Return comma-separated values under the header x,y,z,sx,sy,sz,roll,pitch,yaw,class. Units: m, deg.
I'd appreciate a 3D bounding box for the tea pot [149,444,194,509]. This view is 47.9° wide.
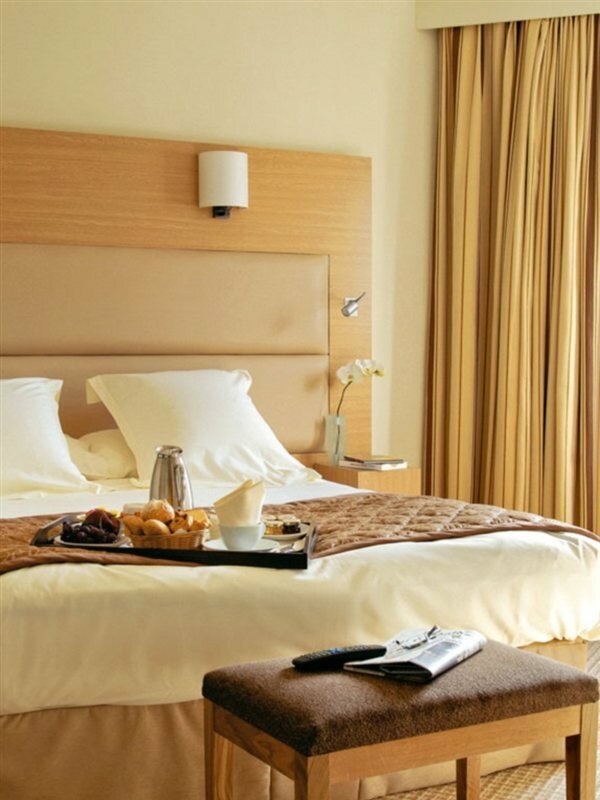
x,y,z,sx,sy,sz,roll,pitch,yaw,class
-0.323,0.195,1.704,0.095,0.157,0.096,2,9,0,tea pot

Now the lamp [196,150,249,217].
x,y,z,sx,sy,sz,roll,pitch,yaw,class
-0.350,-1.007,3.213,0.276,0.303,0.279,5,9,31,lamp
